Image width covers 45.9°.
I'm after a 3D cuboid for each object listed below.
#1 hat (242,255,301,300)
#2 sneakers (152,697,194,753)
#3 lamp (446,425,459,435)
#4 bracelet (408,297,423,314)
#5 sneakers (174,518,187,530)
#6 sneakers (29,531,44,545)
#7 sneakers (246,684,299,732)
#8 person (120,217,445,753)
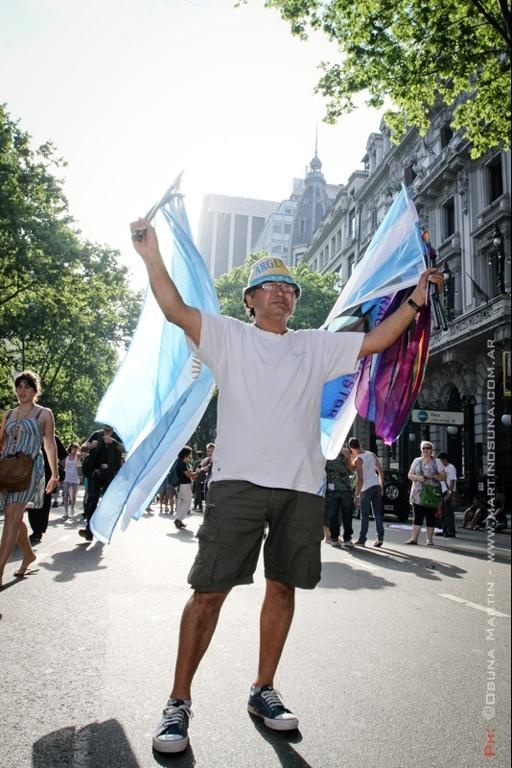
[{"bbox_3d":[0.059,-0.500,2.717,0.173,0.127,0.226,3,-16,-10],"label":"hat"},{"bbox_3d":[-0.283,1.183,2.086,0.107,0.116,0.293,0,-20,0],"label":"sneakers"},{"bbox_3d":[8.367,1.987,25.842,0.432,0.369,0.510,-1,-1,35],"label":"lamp"},{"bbox_3d":[0.706,-0.347,2.679,0.022,0.060,0.060,-25,-50,37],"label":"bracelet"},{"bbox_3d":[-1.754,3.337,14.085,0.163,0.224,0.546,-5,-42,4],"label":"sneakers"},{"bbox_3d":[-3.453,2.428,9.471,0.157,0.222,0.115,-8,-17,15],"label":"sneakers"},{"bbox_3d":[0.054,1.257,2.339,0.080,0.104,0.237,7,-20,-23],"label":"sneakers"},{"bbox_3d":[0.012,0.378,2.402,1.196,1.881,0.414,11,-7,-35],"label":"person"}]
